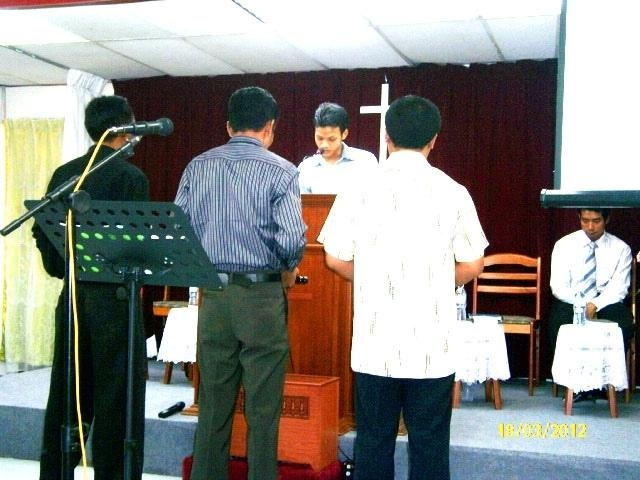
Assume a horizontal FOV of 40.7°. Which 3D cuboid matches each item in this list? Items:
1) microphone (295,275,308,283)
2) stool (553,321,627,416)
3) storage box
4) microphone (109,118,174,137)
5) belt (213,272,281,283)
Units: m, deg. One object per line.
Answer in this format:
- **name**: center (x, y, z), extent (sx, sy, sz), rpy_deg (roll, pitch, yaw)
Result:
- **microphone**: center (-0.117, 0.229, 5.066), extent (0.052, 0.074, 0.188), rpy_deg (-1, -2, -5)
- **stool**: center (1.917, 0.946, 6.469), extent (0.498, 0.693, 0.638), rpy_deg (-2, -9, 14)
- **storage box**: center (-0.184, 1.053, 5.350), extent (0.813, 0.667, 0.466), rpy_deg (-2, -8, 25)
- **microphone**: center (-0.945, -0.597, 4.522), extent (0.305, 0.130, 0.508), rpy_deg (1, 2, -14)
- **belt**: center (-0.376, 0.202, 4.643), extent (0.333, 0.063, 0.060), rpy_deg (1, 2, -14)
